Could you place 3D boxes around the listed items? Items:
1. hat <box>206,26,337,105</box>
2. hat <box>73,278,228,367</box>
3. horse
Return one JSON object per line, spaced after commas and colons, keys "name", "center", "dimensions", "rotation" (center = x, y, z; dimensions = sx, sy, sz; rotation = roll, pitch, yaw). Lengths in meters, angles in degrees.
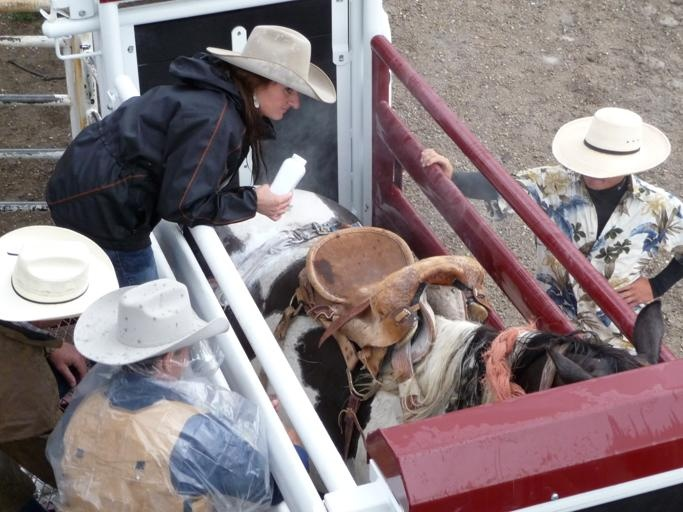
{"name": "hat", "center": [-0.269, -0.847, 3.723], "dimensions": [0.536, 0.223, 0.429], "rotation": [30, 9, 8]}
{"name": "hat", "center": [-0.696, 0.244, 2.980], "dimensions": [0.409, 0.158, 0.338], "rotation": [-18, 39, -20]}
{"name": "horse", "center": [0.299, 0.337, 3.193], "dimensions": [0.310, 0.906, 1.196], "rotation": [-25, 64, -38]}
